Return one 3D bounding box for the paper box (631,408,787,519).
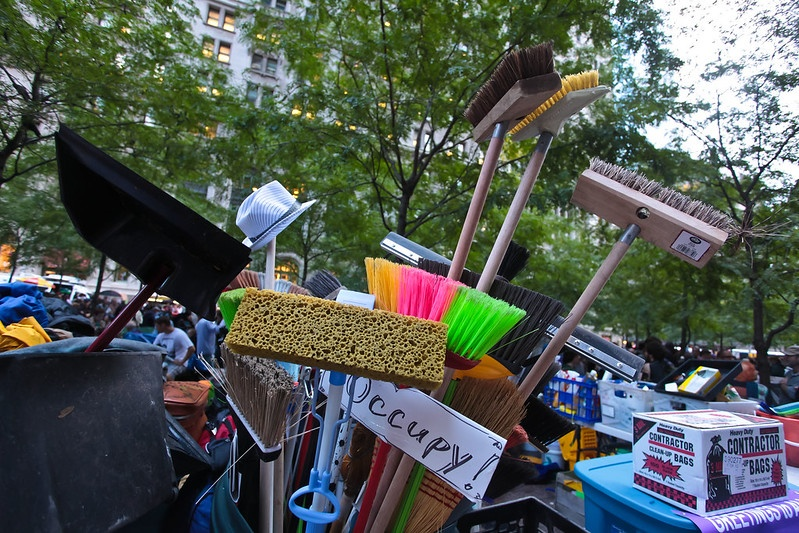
[{"bbox_3d":[2.553,1.585,4.728,1.001,0.585,0.976,-1,-5,-3],"label":"paper box"}]

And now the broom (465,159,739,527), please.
[{"bbox_3d":[1.403,0.283,4.304,1.222,1.932,0.645,32,0,1],"label":"broom"}]

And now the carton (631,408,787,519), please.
[{"bbox_3d":[2.399,1.445,4.463,0.846,0.576,0.816,5,-10,-29],"label":"carton"}]

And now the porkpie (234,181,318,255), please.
[{"bbox_3d":[-1.024,-0.422,4.396,0.243,0.614,0.537,36,18,-9],"label":"porkpie"}]

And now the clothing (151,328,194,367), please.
[{"bbox_3d":[-3.999,1.395,9.964,0.779,0.604,0.412,-2,15,20],"label":"clothing"}]

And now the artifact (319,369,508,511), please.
[{"bbox_3d":[0.087,1.181,3.862,1.009,0.553,0.135,27,6,13],"label":"artifact"}]
